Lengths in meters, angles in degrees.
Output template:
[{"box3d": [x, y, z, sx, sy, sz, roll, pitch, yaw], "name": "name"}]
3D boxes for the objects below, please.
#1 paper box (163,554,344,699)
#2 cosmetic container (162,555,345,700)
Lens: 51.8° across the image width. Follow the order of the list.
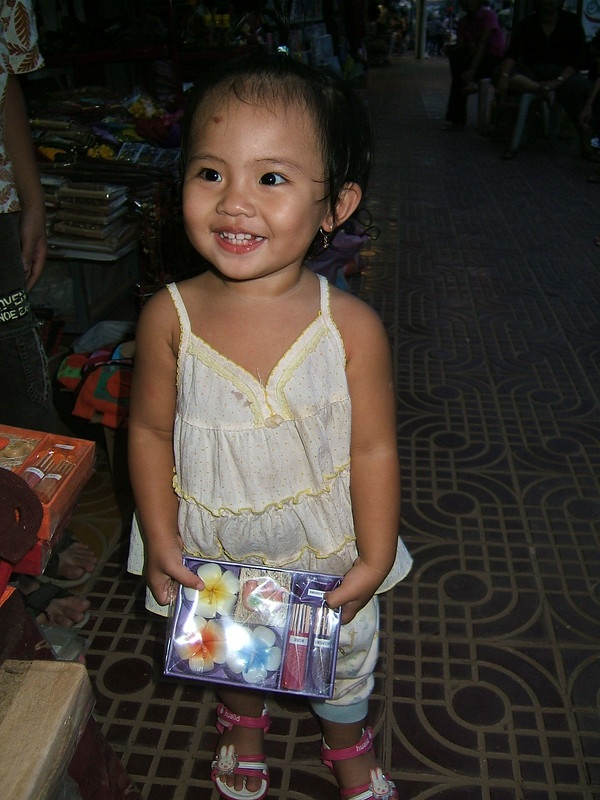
[{"box3d": [-0.065, 0.377, 1.055, 0.306, 0.058, 0.186, -3, 71, 25], "name": "paper box"}, {"box3d": [-0.084, 0.378, 1.047, 0.315, 0.057, 0.205, 12, 66, -25], "name": "cosmetic container"}]
